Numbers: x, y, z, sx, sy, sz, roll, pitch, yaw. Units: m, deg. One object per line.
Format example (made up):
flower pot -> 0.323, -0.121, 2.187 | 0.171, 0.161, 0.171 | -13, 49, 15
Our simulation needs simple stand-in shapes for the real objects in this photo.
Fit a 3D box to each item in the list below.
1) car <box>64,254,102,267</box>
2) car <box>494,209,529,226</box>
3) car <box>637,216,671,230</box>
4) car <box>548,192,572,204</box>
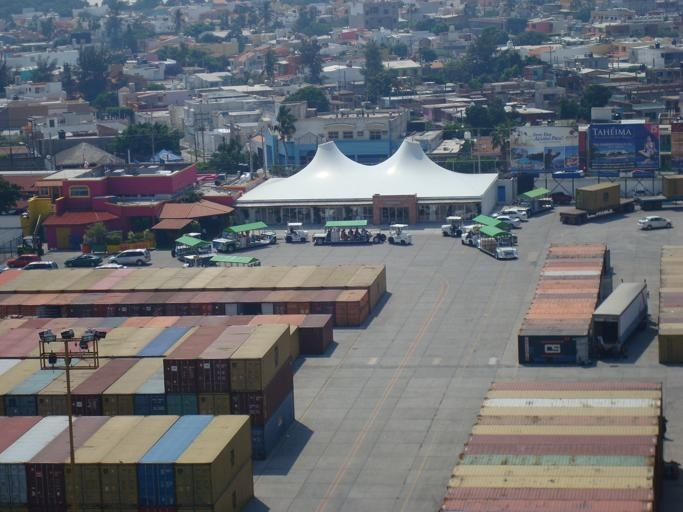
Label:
car -> -35.560, 0.660, 283.005 | 4.858, 1.499, 2.007 | 2, 7, 6
car -> 24.007, -5.600, 290.934 | 4.512, 1.745, 3.973 | -6, 13, -13
car -> 43.084, -4.704, 283.999 | 3.849, 1.303, 1.900 | -4, 12, -6
car -> 31.994, -8.615, 300.403 | 2.616, 1.123, 1.540 | 0, 12, 8
